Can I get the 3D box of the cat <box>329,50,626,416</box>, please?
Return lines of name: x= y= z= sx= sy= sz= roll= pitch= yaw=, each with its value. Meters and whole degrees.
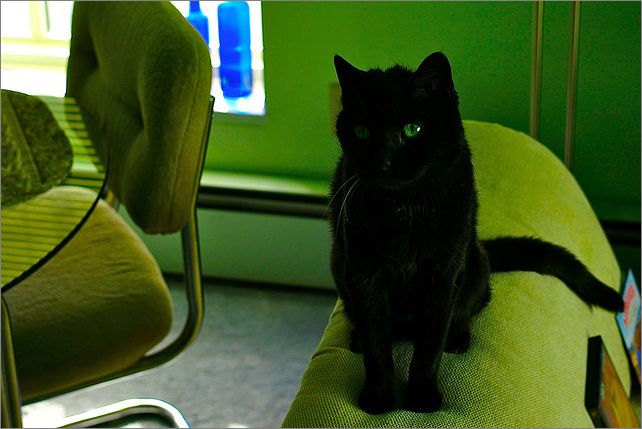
cat: x=0.222 y=-0.002 z=1.350 sx=0.600 sy=0.716 sz=0.554 roll=2 pitch=12 yaw=20
